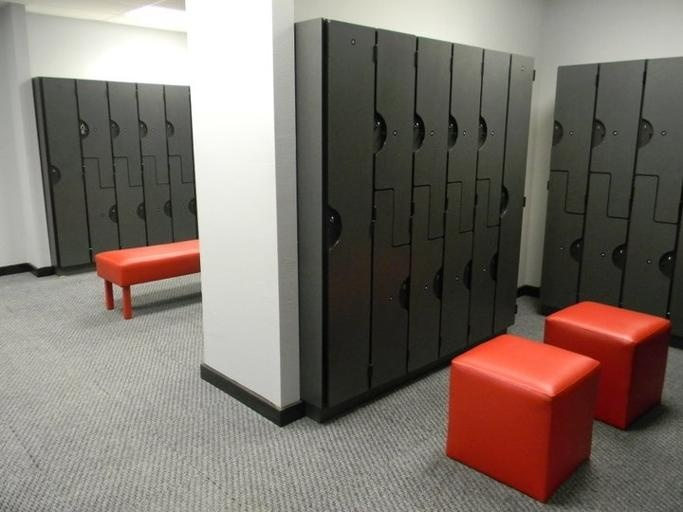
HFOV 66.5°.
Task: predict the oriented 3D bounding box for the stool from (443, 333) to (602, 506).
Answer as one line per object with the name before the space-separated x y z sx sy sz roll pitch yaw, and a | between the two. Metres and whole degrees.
stool | 1.094 0.935 3.175 0.752 0.671 0.622 14 24 37

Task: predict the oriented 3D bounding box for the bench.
bench | -1.957 0.227 5.430 1.013 0.603 0.597 -10 21 -26

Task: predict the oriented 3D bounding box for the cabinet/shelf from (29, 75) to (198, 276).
cabinet/shelf | -3.216 -1.103 7.219 0.744 2.512 2.407 6 14 19

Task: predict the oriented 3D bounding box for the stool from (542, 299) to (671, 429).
stool | 1.933 0.739 3.814 0.706 0.667 0.733 14 20 39
